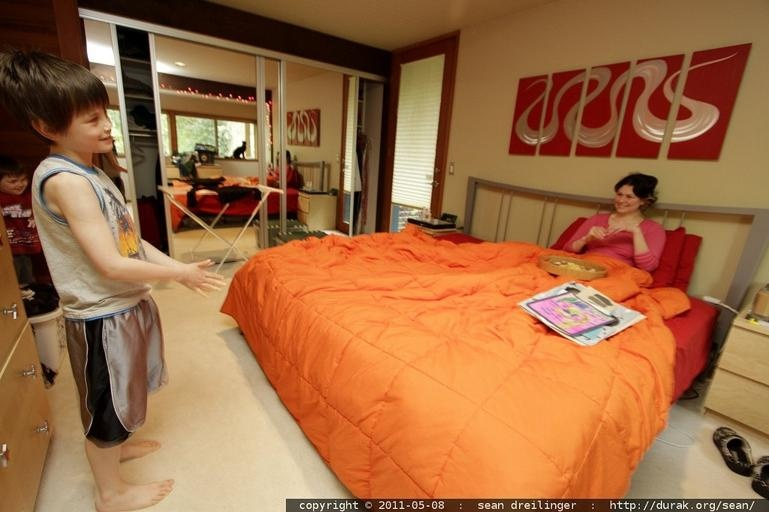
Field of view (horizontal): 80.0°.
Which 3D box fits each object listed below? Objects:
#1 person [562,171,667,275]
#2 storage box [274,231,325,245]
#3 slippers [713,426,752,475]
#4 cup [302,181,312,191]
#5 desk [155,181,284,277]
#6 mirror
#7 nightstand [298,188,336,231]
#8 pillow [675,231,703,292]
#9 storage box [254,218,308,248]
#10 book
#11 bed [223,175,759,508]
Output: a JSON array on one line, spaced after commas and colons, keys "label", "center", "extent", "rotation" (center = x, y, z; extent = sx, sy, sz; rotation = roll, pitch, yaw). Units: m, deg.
[{"label": "person", "center": [1.849, -0.250, 3.609], "extent": [0.544, 0.914, 0.713], "rotation": [1, 12, -29]}, {"label": "storage box", "center": [-1.132, -0.249, 5.725], "extent": [0.440, 0.114, 0.418], "rotation": [-5, 18, -17]}, {"label": "slippers", "center": [2.165, 1.200, 2.834], "extent": [0.130, 0.084, 0.259], "rotation": [-4, 28, 17]}, {"label": "cup", "center": [-1.008, -0.921, 6.043], "extent": [0.123, 0.152, 0.106], "rotation": [-10, 15, -43]}, {"label": "desk", "center": [-1.749, -0.432, 5.020], "extent": [1.188, 0.835, 1.010], "rotation": [-8, 24, -34]}, {"label": "mirror", "center": [-1.594, -1.257, 4.377], "extent": [2.489, 2.361, 0.112], "rotation": [-10, 25, -31]}, {"label": "nightstand", "center": [-0.956, -0.636, 6.330], "extent": [0.414, 0.500, 0.534], "rotation": [-5, 14, -25]}, {"label": "pillow", "center": [2.261, 0.038, 3.414], "extent": [0.110, 0.354, 0.377], "rotation": [13, 4, 22]}, {"label": "storage box", "center": [-1.263, -0.267, 5.595], "extent": [0.541, 0.194, 0.549], "rotation": [-1, 17, -5]}, {"label": "book", "center": [1.177, 0.333, 2.760], "extent": [0.433, 0.068, 0.402], "rotation": [-14, 27, -25]}, {"label": "bed", "center": [0.194, 0.500, 2.667], "extent": [2.018, 0.518, 1.894], "rotation": [-11, 31, -28]}]
